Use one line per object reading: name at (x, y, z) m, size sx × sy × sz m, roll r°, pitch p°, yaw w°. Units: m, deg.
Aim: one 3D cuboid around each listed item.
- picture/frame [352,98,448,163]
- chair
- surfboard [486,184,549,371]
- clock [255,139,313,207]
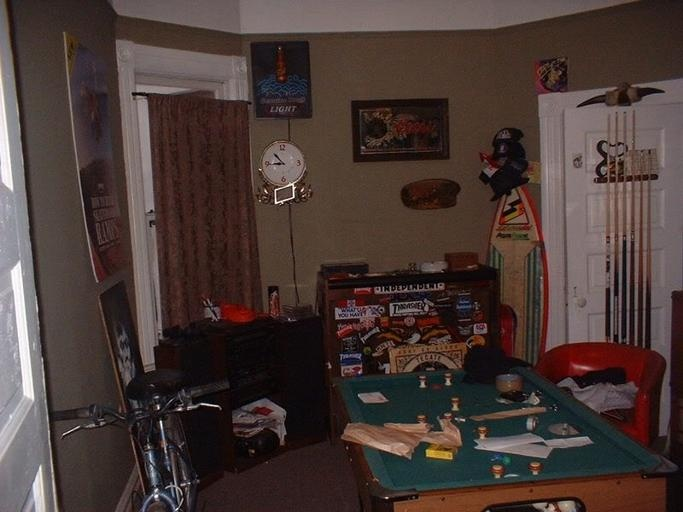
picture/frame at (0.560, -1.234, 5.585) m, size 0.901 × 0.594 × 0.019 m, roll 2°, pitch 41°, yaw 10°
chair at (1.786, 0.797, 3.944) m, size 0.846 × 0.745 × 0.734 m, roll -1°, pitch -2°, yaw 41°
surfboard at (1.694, 0.160, 5.476) m, size 0.311 × 1.587 × 0.652 m, roll -6°, pitch 14°, yaw -20°
clock at (-0.562, -0.805, 5.465) m, size 0.589 × 0.652 × 0.081 m, roll -3°, pitch 7°, yaw -15°
